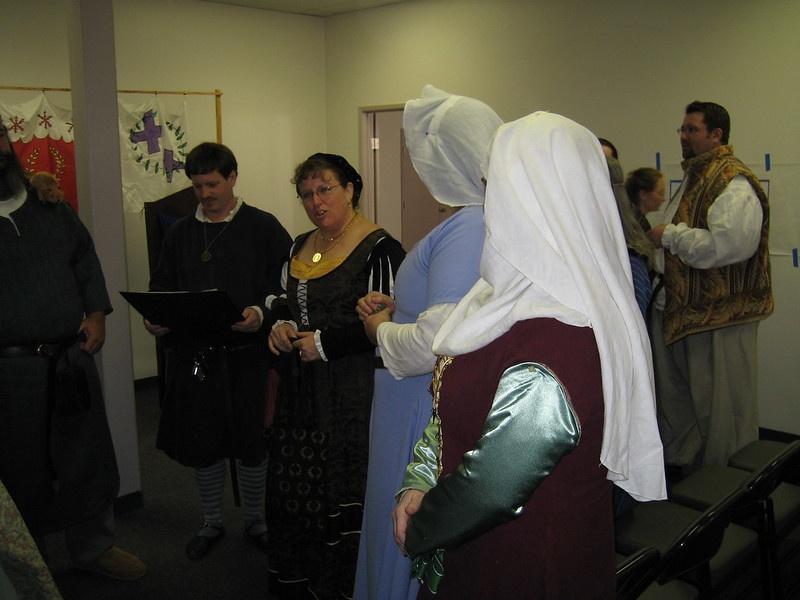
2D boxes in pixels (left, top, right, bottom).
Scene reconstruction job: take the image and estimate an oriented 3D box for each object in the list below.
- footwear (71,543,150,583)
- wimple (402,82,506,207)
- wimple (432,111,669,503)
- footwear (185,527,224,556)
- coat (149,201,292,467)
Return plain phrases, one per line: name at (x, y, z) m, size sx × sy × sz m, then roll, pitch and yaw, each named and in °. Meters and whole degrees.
footwear at (-1.278, 1.188, 2.804) m, size 0.322 × 0.140 × 0.138 m, roll 4°, pitch 3°, yaw 4°
wimple at (0.143, -0.451, 1.904) m, size 0.279 × 0.365 × 0.123 m, roll -27°, pitch 5°, yaw -21°
wimple at (0.353, -0.089, 1.909) m, size 0.670 × 1.146 × 0.967 m, roll 2°, pitch 3°, yaw 14°
footwear at (-0.928, 1.141, 2.990) m, size 0.069 × 0.079 × 0.208 m, roll 6°, pitch 7°, yaw 21°
coat at (-0.851, 0.219, 2.911) m, size 0.632 × 1.356 × 0.400 m, roll 3°, pitch 20°, yaw -12°
